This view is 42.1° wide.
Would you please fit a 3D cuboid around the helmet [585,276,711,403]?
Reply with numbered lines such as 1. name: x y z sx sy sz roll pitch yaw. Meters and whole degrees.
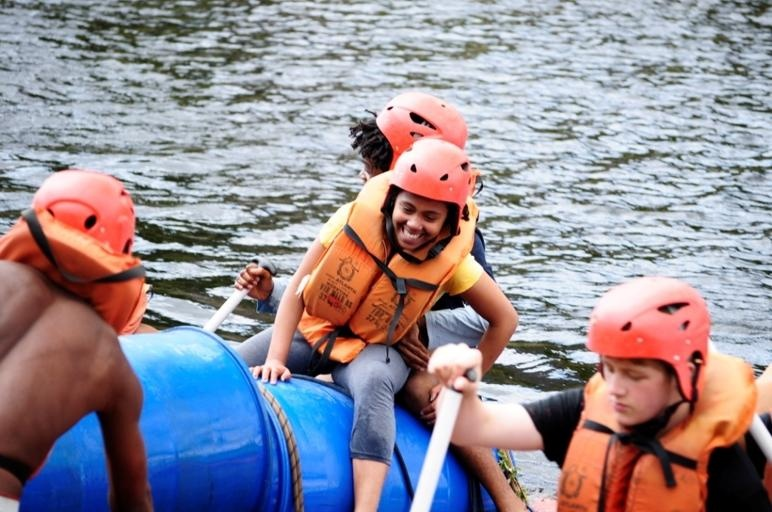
1. helmet: 1.140 0.391 4.503 0.520 0.469 0.610 10 12 40

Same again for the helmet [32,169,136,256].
1. helmet: -1.314 -0.161 4.405 0.349 0.347 0.459 10 1 44

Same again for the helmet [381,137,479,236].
1. helmet: 0.235 -0.393 5.490 0.395 0.355 0.501 23 25 21
